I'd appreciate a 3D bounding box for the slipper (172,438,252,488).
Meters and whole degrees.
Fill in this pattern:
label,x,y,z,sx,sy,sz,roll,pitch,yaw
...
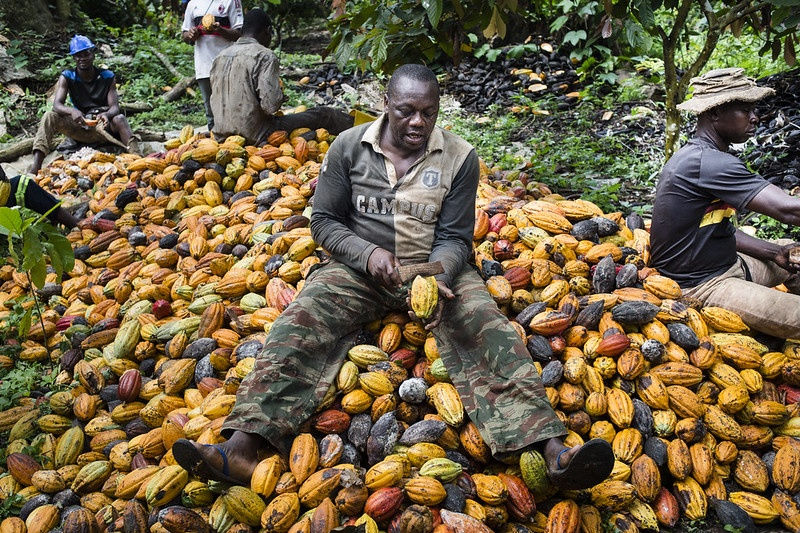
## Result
label,x,y,z,sx,sy,sz,roll,pitch,yaw
slipper,-1.420,1.548,4.984,0.760,0.259,0.204,28,-21,-26

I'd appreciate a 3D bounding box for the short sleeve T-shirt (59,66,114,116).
label,x,y,z,sx,sy,sz,roll,pitch,yaw
short sleeve T-shirt,-5.000,-2.808,10.363,0.791,0.730,0.425,-6,-1,14

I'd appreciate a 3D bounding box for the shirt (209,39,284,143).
label,x,y,z,sx,sy,sz,roll,pitch,yaw
shirt,-1.987,-2.316,8.671,1.136,1.394,1.037,9,11,38

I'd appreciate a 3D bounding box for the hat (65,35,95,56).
label,x,y,z,sx,sy,sz,roll,pitch,yaw
hat,-5.114,-3.583,10.173,0.320,0.277,0.948,-11,28,-20

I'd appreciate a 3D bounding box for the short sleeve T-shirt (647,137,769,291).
label,x,y,z,sx,sy,sz,roll,pitch,yaw
short sleeve T-shirt,3.137,-0.574,6.272,1.109,1.317,1.403,3,18,40
